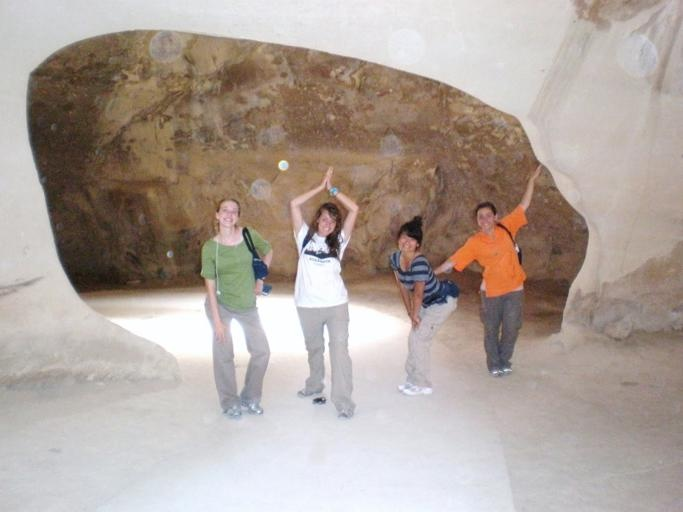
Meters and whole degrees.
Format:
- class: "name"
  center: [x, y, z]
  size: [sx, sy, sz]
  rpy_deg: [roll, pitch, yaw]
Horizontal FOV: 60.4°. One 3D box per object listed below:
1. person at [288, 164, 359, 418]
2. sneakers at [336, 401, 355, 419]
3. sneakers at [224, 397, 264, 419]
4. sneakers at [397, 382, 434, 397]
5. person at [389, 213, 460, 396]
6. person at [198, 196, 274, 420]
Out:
- class: "person"
  center: [-0.146, 0.309, 5.217]
  size: [0.569, 2.140, 0.728]
  rpy_deg: [-1, 10, 1]
- class: "sneakers"
  center: [0.039, 1.317, 5.042]
  size: [0.111, 0.150, 0.059]
  rpy_deg: [3, 37, -2]
- class: "sneakers"
  center: [-0.846, 1.325, 5.158]
  size: [0.312, 0.137, 0.136]
  rpy_deg: [10, -3, -23]
- class: "sneakers"
  center: [0.700, 1.266, 5.607]
  size: [0.220, 0.085, 0.132]
  rpy_deg: [3, -5, 3]
- class: "person"
  center: [0.770, 0.467, 5.531]
  size: [0.603, 1.708, 0.407]
  rpy_deg: [1, 10, 10]
- class: "person"
  center: [-0.893, 0.439, 5.128]
  size: [0.552, 1.845, 0.457]
  rpy_deg: [-3, 11, -12]
